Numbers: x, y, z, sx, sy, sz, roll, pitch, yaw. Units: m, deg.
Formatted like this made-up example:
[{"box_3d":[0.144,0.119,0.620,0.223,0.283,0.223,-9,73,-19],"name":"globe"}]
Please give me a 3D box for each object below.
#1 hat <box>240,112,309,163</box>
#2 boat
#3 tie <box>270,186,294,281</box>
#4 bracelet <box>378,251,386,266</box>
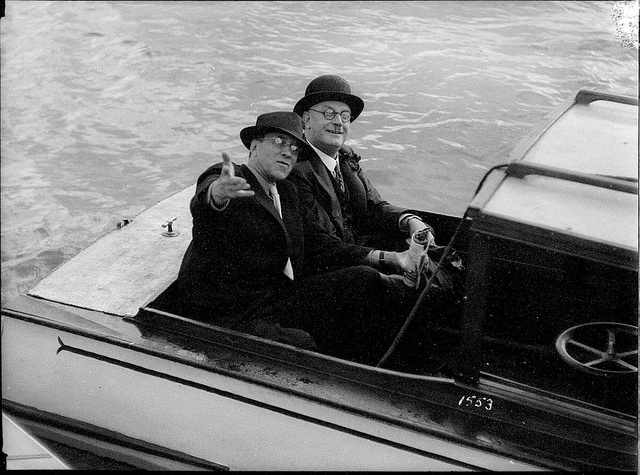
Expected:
[{"box_3d":[-0.227,-0.528,3.816,0.302,0.240,0.112,10,64,7],"name":"hat"},{"box_3d":[-0.158,0.456,3.701,3.091,1.421,1.669,14,40,20],"name":"boat"},{"box_3d":[-0.207,-0.040,3.843,0.072,0.085,0.557,-7,66,-16],"name":"tie"},{"box_3d":[0.327,0.118,3.943,0.048,0.058,0.059,10,21,7],"name":"bracelet"}]
